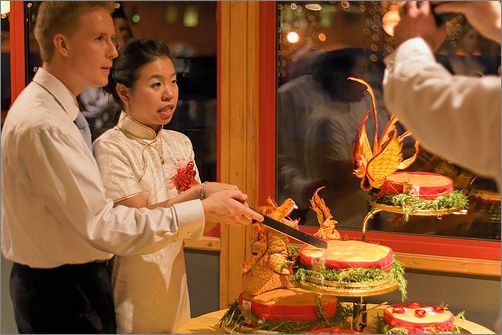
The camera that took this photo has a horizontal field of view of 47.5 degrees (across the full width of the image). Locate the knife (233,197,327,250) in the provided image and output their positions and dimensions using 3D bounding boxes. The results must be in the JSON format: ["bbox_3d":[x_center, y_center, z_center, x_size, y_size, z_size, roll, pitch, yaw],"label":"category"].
[{"bbox_3d":[0.145,0.278,2.828,0.644,0.095,0.036,29,-11,-6],"label":"knife"}]

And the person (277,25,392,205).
[{"bbox_3d":[0.474,-0.328,3.516,0.678,0.985,0.341,5,9,33],"label":"person"}]

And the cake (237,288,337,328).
[{"bbox_3d":[0.192,0.663,2.798,0.545,0.140,0.562,-8,-12,31],"label":"cake"}]
